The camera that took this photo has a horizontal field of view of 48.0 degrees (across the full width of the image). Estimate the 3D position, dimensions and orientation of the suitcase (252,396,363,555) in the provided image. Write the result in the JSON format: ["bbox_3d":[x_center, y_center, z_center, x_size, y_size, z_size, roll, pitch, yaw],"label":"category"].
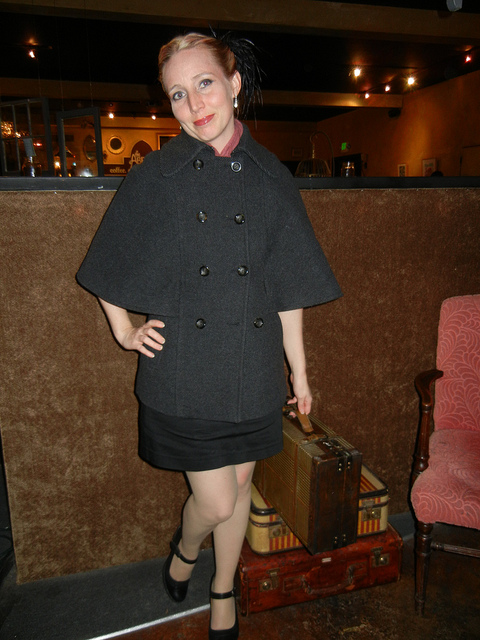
[{"bbox_3d":[0.203,0.492,1.832,0.187,0.397,0.511,-8,15,-20],"label":"suitcase"}]

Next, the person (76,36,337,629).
[{"bbox_3d":[-0.069,0.128,1.511,0.684,1.685,0.270,-6,14,-16],"label":"person"}]

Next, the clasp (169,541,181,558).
[{"bbox_3d":[-0.214,0.763,1.792,0.012,0.046,0.028,-13,6,-28],"label":"clasp"}]

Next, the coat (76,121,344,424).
[{"bbox_3d":[-0.063,-0.139,1.454,0.769,0.706,0.294,-1,12,-9],"label":"coat"}]

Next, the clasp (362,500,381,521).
[{"bbox_3d":[0.443,0.649,1.841,0.078,0.069,0.043,-1,14,-5],"label":"clasp"}]

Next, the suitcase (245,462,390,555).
[{"bbox_3d":[0.259,0.625,1.818,0.306,0.076,0.290,-2,8,-23],"label":"suitcase"}]
